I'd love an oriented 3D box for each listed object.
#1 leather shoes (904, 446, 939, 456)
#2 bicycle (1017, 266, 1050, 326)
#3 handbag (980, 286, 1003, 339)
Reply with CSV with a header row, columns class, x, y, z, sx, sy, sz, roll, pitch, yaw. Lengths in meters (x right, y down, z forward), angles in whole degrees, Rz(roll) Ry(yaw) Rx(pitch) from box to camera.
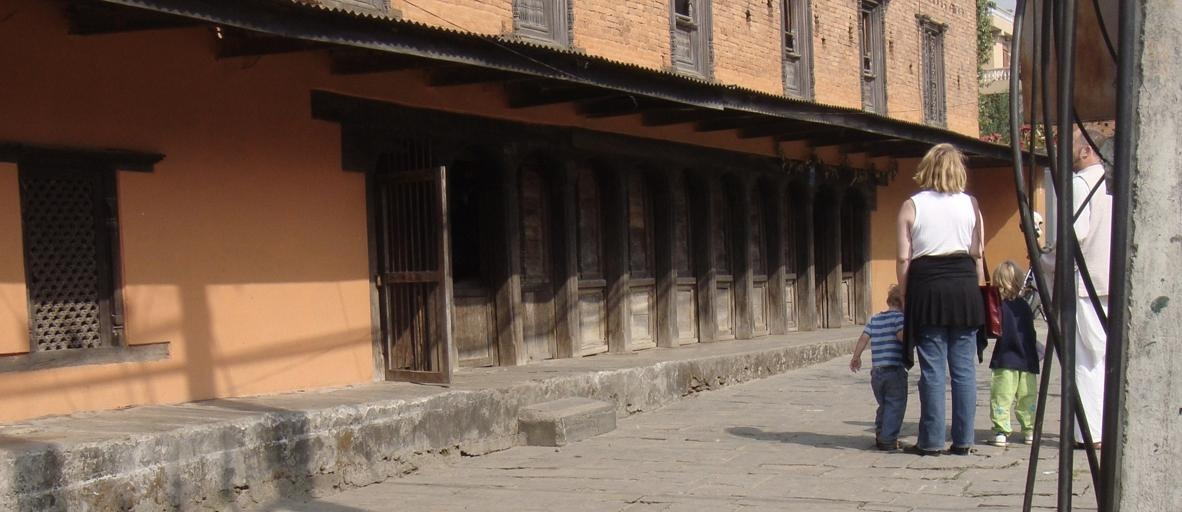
class,x,y,z,sx,sy,sz,roll,pitch,yaw
leather shoes,4.521,2.685,15.951,0.441,0.157,0.147,5,2,34
bicycle,6.874,0.520,18.300,0.329,0.878,0.266,-16,-8,-3
handbag,5.446,0.756,15.785,0.212,0.517,0.318,-7,-4,19
